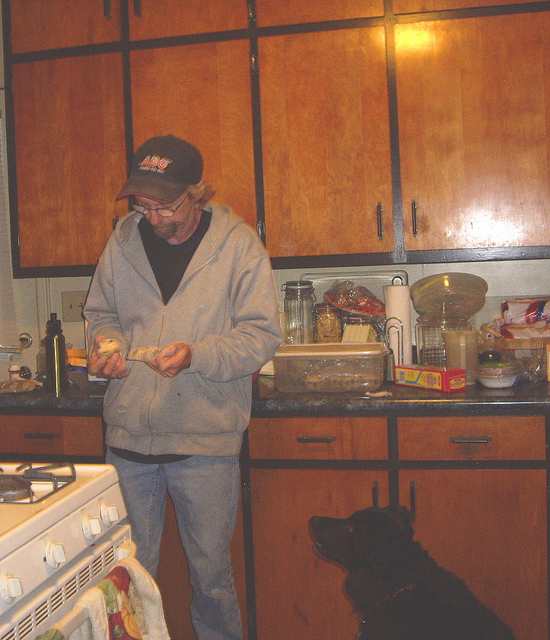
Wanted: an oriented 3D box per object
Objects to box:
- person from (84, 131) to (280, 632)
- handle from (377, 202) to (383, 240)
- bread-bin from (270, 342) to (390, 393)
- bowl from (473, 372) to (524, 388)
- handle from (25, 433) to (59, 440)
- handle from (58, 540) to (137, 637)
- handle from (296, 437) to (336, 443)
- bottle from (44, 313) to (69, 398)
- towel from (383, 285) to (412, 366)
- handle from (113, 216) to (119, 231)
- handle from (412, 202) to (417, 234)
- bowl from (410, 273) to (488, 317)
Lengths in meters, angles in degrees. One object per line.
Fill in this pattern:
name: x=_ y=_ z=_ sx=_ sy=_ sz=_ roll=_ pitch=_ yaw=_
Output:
person: x=-0.286 y=0.216 z=2.055 sx=0.473 sy=1.389 sz=0.511 roll=-1 pitch=1 yaw=-28
handle: x=0.349 y=-0.330 z=2.557 sx=0.016 sy=0.119 sz=0.017 roll=-1 pitch=1 yaw=10
bread-bin: x=0.185 y=0.148 z=2.454 sx=0.355 sy=0.146 sz=0.245 roll=-1 pitch=1 yaw=8
bowl: x=0.723 y=0.184 z=2.406 sx=0.177 sy=0.045 sz=0.099 roll=-1 pitch=1 yaw=-16
handle: x=-0.737 y=0.365 z=2.414 sx=0.110 sy=0.028 sz=0.016 roll=3 pitch=18 yaw=7
handle: x=-0.295 y=0.456 z=1.323 sx=0.037 sy=0.079 sz=0.262 roll=0 pitch=1 yaw=14
handle: x=0.117 y=0.352 z=2.268 sx=0.106 sy=0.023 sz=0.015 roll=-1 pitch=15 yaw=9
bottle: x=-0.730 y=0.109 z=2.568 sx=0.076 sy=0.262 sz=0.337 roll=-1 pitch=1 yaw=-16
towel: x=0.424 y=0.013 z=2.647 sx=0.085 sy=0.265 sz=0.131 roll=-1 pitch=1 yaw=9
handle: x=-0.552 y=-0.346 z=2.683 sx=0.018 sy=0.039 sz=0.035 roll=-1 pitch=1 yaw=-23
handle: x=0.462 y=-0.340 z=2.547 sx=0.015 sy=0.103 sz=0.012 roll=0 pitch=1 yaw=14
bowl: x=0.613 y=-0.079 z=2.701 sx=0.173 sy=0.077 sz=0.176 roll=6 pitch=-29 yaw=3
